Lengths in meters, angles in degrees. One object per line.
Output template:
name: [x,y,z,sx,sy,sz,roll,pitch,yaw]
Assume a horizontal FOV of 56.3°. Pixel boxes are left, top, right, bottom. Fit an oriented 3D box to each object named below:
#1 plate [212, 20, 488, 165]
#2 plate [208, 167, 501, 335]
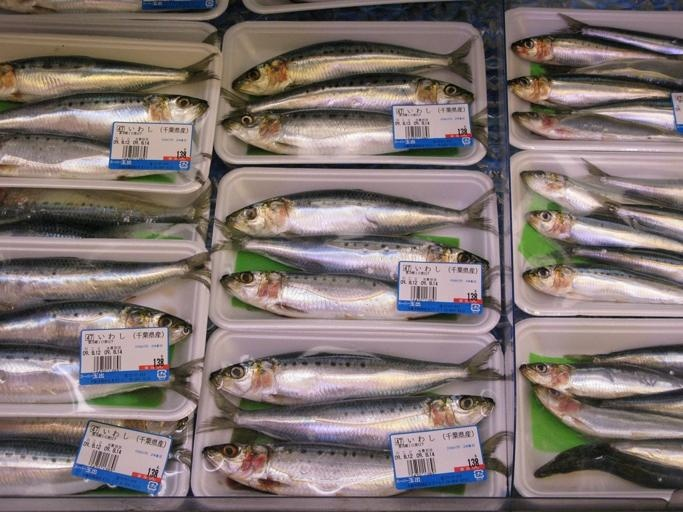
plate: [0.064,-1.116,3.832,1.390,0.750,0.224,1,-8,1]
plate: [0.087,-0.206,3.570,1.383,0.244,0.749,1,78,2]
